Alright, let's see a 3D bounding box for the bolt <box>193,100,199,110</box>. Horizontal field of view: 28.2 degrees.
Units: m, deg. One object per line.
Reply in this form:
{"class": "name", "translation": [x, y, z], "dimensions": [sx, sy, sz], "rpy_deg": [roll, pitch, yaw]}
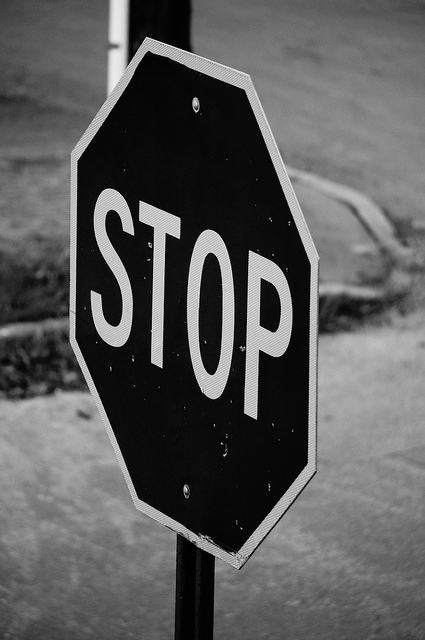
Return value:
{"class": "bolt", "translation": [-0.014, -0.179, 0.708], "dimensions": [0.003, 0.006, 0.008], "rpy_deg": [-17, 59, -17]}
